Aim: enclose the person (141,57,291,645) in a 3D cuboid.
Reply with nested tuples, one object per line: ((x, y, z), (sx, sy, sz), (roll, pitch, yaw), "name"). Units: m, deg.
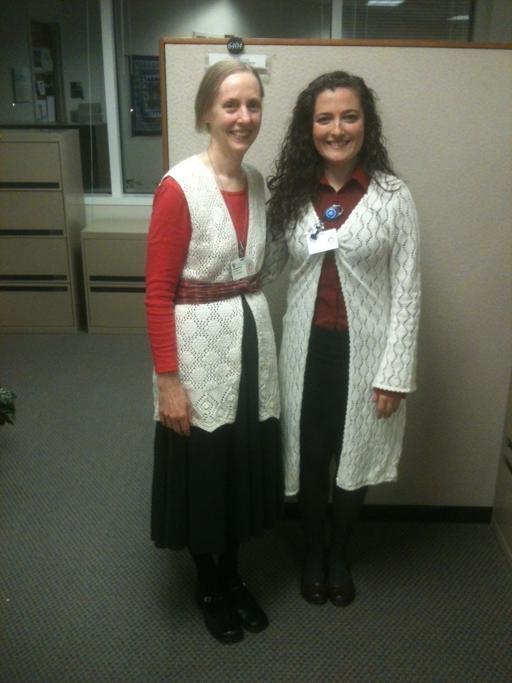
((-0.082, -0.029, 1.182), (0.310, 1.014, 0.213), (-3, 15, -13), "person")

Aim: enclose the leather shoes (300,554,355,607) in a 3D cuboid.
((0.185, 0.633, 1.498), (0.087, 0.057, 0.156), (0, -3, 3), "leather shoes")

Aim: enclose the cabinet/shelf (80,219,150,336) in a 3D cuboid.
((-0.844, -0.340, 3.375), (0.407, 0.559, 0.336), (-2, 4, -14), "cabinet/shelf")
